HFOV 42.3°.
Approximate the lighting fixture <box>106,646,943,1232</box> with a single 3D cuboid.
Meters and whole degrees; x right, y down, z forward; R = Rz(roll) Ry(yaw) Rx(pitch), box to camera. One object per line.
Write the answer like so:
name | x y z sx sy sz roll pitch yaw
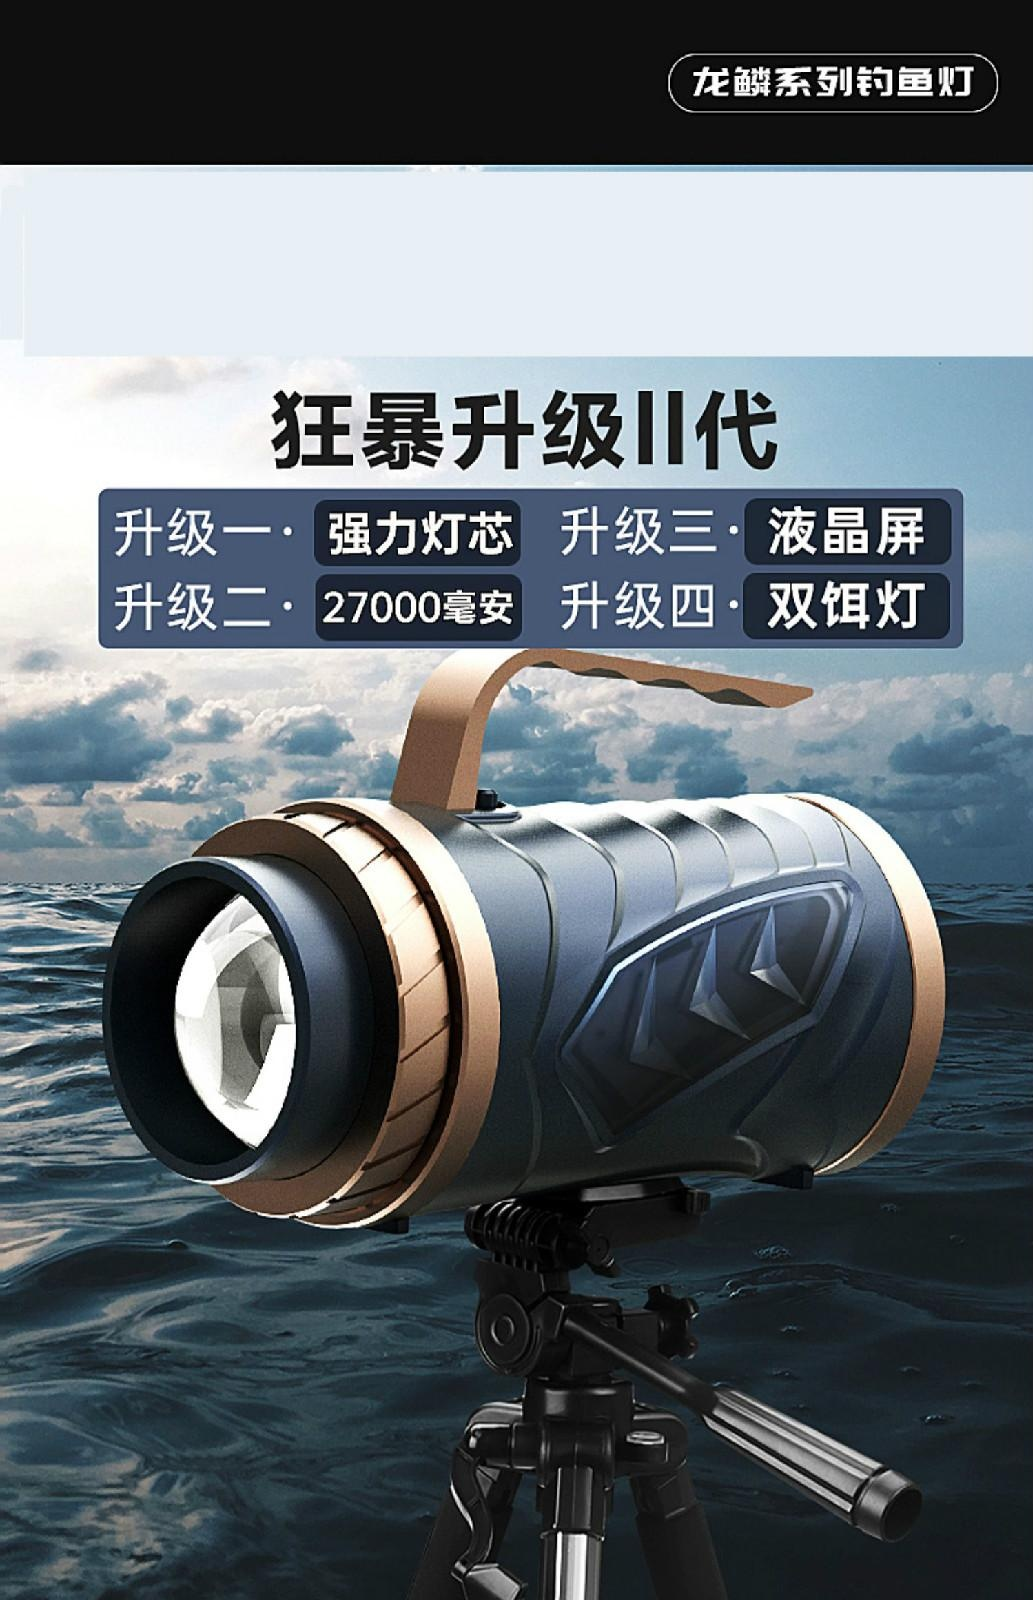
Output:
lighting fixture | -0.026 0.099 1.062 0.628 0.452 0.356 4 -11 -43
